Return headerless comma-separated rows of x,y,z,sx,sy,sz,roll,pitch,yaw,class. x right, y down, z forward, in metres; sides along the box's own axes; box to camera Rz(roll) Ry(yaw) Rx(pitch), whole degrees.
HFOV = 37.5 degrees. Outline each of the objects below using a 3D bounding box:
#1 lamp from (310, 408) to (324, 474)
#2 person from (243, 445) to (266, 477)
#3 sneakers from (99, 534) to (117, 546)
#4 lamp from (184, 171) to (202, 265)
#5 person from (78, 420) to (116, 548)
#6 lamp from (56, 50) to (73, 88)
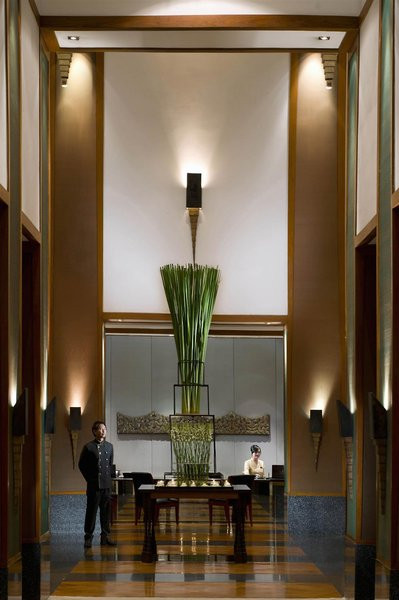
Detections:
1.337,1.619,6.760,0.154,0.688,0.165,-2,-7,18,lamp
0.818,2.498,9.020,0.263,0.504,0.764,-1,-10,10,person
-0.904,2.375,5.800,0.165,0.088,0.131,1,-10,1,sneakers
-0.078,-0.966,6.942,0.181,1.025,0.208,1,-6,-1,lamp
-1.038,1.852,5.954,0.369,1.210,0.567,2,-7,-13,person
-1.545,-2.630,6.741,0.174,0.587,0.276,0,-1,-2,lamp
